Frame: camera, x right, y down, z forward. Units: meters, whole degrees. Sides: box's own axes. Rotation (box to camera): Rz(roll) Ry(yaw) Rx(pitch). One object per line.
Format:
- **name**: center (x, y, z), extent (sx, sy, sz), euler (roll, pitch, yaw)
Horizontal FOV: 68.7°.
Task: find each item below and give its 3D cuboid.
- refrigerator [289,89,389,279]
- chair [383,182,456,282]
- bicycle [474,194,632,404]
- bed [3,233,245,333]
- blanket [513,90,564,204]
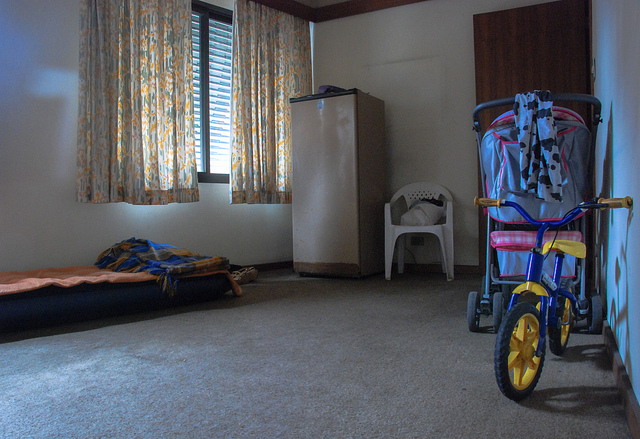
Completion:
- **refrigerator**: center (0.186, -0.348, 4.766), extent (0.982, 1.870, 0.589), euler (-1, 6, 2)
- **chair**: center (0.994, 0.085, 4.672), extent (0.736, 0.971, 0.745), euler (-1, 0, -21)
- **bicycle**: center (1.120, 0.366, 2.309), extent (0.597, 0.736, 1.061), euler (-2, -3, 36)
- **bed**: center (-1.468, 0.426, 3.471), extent (1.483, 0.410, 0.637), euler (-6, 8, -35)
- **blanket**: center (1.169, -0.391, 2.502), extent (0.244, 0.581, 0.102), euler (2, 7, 23)
